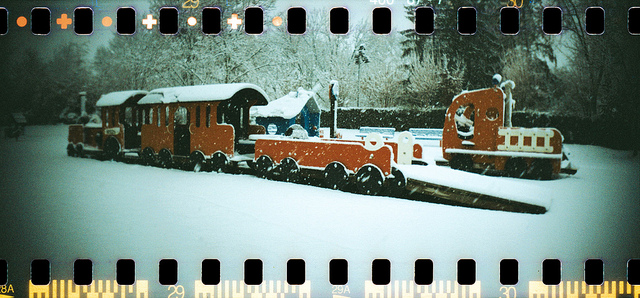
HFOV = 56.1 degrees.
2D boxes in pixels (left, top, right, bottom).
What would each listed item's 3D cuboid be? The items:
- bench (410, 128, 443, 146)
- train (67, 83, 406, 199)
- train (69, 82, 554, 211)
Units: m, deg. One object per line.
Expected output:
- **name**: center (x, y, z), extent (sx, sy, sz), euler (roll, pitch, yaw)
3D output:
- **bench**: center (8.741, -1.014, 49.123), extent (2.569, 1.273, 0.878), euler (1, -2, 10)
- **train**: center (-6.910, -1.386, 44.130), extent (27.963, 6.639, 4.731), euler (4, 11, 24)
- **train**: center (-1.389, -0.757, 42.403), extent (35.419, 5.922, 6.024), euler (7, 5, 36)
